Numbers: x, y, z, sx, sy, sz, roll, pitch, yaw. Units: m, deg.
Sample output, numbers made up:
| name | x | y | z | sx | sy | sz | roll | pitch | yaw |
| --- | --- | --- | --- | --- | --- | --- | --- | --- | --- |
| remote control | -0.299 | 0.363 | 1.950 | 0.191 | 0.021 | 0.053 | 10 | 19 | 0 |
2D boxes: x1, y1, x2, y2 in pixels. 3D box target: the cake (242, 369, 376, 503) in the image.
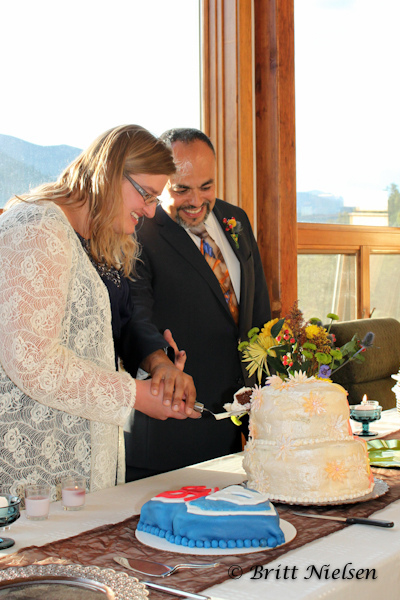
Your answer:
| name | x | y | z | sx | sy | sz | roll | pitch | yaw |
| --- | --- | --- | --- | --- | --- | --- | --- | --- | --- |
| cake | 0.243 | 0.297 | 1.205 | 0.300 | 0.280 | 0.291 | -9 | -12 | 35 |

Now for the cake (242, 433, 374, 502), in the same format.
| name | x | y | z | sx | sy | sz | roll | pitch | yaw |
| --- | --- | --- | --- | --- | --- | --- | --- | --- | --- |
| cake | 0.235 | 0.413 | 1.240 | 0.387 | 0.137 | 0.374 | 0 | -20 | -9 |

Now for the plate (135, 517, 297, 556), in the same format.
| name | x | y | z | sx | sy | sz | roll | pitch | yaw |
| --- | --- | --- | --- | --- | --- | --- | --- | --- | --- |
| plate | 0.033 | 0.401 | 0.867 | 0.282 | 0.009 | 0.156 | 0 | -8 | -9 |

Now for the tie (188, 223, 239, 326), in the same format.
| name | x | y | z | sx | sy | sz | roll | pitch | yaw |
| --- | --- | --- | --- | --- | --- | --- | --- | --- | --- |
| tie | 0.058 | -0.231 | 2.183 | 0.106 | 0.691 | 0.055 | 0 | -25 | -28 |

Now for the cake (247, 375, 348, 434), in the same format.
| name | x | y | z | sx | sy | sz | roll | pitch | yaw |
| --- | --- | --- | --- | --- | --- | --- | --- | --- | --- |
| cake | 0.285 | 0.236 | 1.191 | 0.235 | 0.134 | 0.240 | -12 | -12 | 34 |

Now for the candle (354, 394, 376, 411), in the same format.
| name | x | y | z | sx | sy | sz | roll | pitch | yaw |
| --- | --- | --- | --- | --- | --- | --- | --- | --- | --- |
| candle | 0.611 | 0.369 | 1.891 | 0.067 | 0.057 | 0.065 | 5 | -5 | -37 |

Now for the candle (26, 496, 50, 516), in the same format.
| name | x | y | z | sx | sy | sz | roll | pitch | yaw |
| --- | --- | --- | --- | --- | --- | --- | --- | --- | --- |
| candle | -0.321 | 0.401 | 1.004 | 0.035 | 0.024 | 0.035 | 0 | -8 | 2 |

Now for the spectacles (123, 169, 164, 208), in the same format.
| name | x | y | z | sx | sy | sz | roll | pitch | yaw |
| --- | --- | --- | --- | --- | --- | --- | --- | --- | --- |
| spectacles | -0.143 | -0.289 | 1.332 | 0.079 | 0.024 | 0.077 | 44 | 3 | 11 |

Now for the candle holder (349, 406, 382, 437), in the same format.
| name | x | y | z | sx | sy | sz | roll | pitch | yaw |
| --- | --- | --- | --- | --- | --- | --- | --- | --- | --- |
| candle holder | 0.588 | 0.426 | 1.824 | 0.109 | 0.087 | 0.107 | 0 | -10 | 1 |

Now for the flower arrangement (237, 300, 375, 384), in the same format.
| name | x | y | z | sx | sy | sz | roll | pitch | yaw |
| --- | --- | --- | --- | --- | --- | --- | --- | --- | --- |
| flower arrangement | 0.272 | 0.135 | 1.336 | 0.327 | 0.273 | 0.188 | 0 | 6 | 28 |

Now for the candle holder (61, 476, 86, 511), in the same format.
| name | x | y | z | sx | sy | sz | roll | pitch | yaw |
| --- | --- | --- | --- | --- | --- | --- | --- | --- | --- |
| candle holder | -0.263 | 0.416 | 1.108 | 0.054 | 0.057 | 0.052 | 1 | -4 | -4 |

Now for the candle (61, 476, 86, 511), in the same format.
| name | x | y | z | sx | sy | sz | roll | pitch | yaw |
| --- | --- | --- | --- | --- | --- | --- | --- | --- | --- |
| candle | -0.261 | 0.415 | 1.109 | 0.054 | 0.057 | 0.053 | 0 | -3 | 2 |

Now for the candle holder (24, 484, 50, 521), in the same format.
| name | x | y | z | sx | sy | sz | roll | pitch | yaw |
| --- | --- | --- | --- | --- | --- | --- | --- | --- | --- |
| candle holder | -0.334 | 0.408 | 1.040 | 0.052 | 0.055 | 0.048 | 2 | -2 | -21 |
